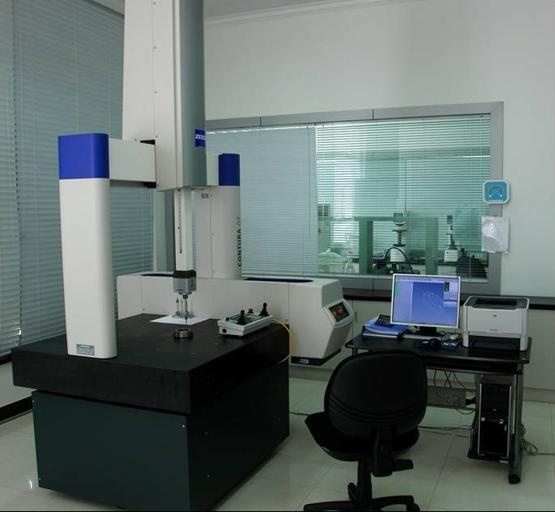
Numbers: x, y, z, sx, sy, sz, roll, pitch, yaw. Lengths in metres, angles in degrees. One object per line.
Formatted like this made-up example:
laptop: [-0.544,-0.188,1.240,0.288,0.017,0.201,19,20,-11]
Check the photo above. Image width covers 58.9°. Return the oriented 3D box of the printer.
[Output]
printer: [1.282,0.391,2.888,0.345,0.246,0.264,0,8,24]

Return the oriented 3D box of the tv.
tv: [0.913,0.277,3.032,0.407,0.327,0.047,1,-16,24]

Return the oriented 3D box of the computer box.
computer box: [1.216,0.905,2.801,0.203,0.429,0.197,3,4,21]
